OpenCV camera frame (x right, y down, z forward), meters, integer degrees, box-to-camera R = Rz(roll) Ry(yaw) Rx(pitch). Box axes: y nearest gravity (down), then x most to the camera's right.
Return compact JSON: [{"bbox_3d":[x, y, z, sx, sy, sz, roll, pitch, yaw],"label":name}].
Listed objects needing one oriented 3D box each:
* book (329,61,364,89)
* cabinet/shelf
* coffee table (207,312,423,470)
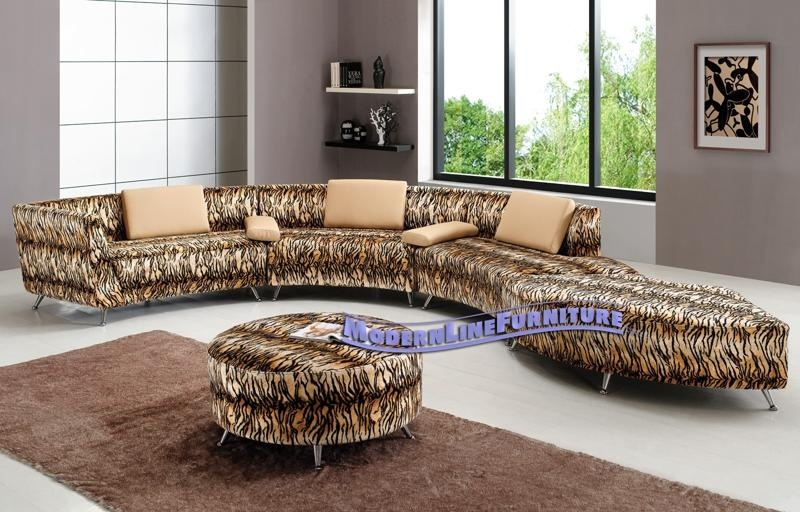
[{"bbox_3d":[-0.730,-2.501,7.680,0.466,0.324,0.063,2,2,18],"label":"book"},{"bbox_3d":[-0.390,-1.916,7.776,1.390,0.765,0.459,10,15,29],"label":"cabinet/shelf"},{"bbox_3d":[-0.464,0.655,2.788,0.787,0.350,0.798,7,10,37],"label":"coffee table"}]
